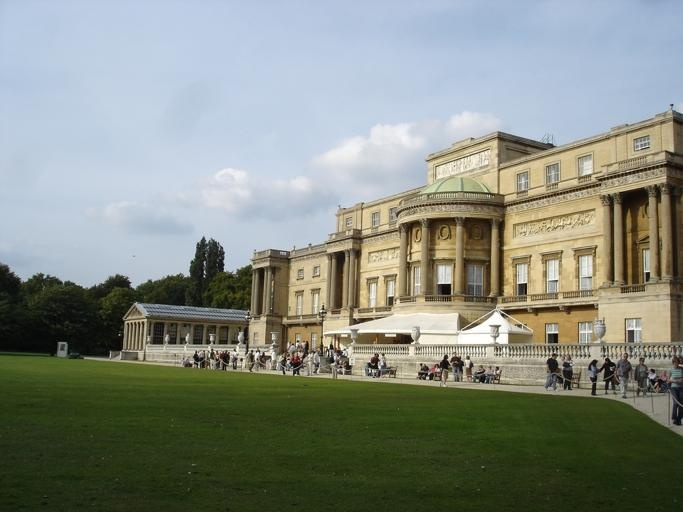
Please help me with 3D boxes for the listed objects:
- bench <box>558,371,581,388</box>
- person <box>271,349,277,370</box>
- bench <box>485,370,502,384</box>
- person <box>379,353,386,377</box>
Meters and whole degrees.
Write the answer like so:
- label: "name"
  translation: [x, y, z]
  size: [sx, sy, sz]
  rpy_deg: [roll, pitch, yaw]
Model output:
- label: "bench"
  translation: [10.576, 5.820, 33.675]
  size: [0.867, 0.652, 0.324]
  rpy_deg: [5, -14, -27]
- label: "person"
  translation: [-5.082, 7.828, 54.314]
  size: [0.407, 1.644, 1.470]
  rpy_deg: [3, -12, -7]
- label: "bench"
  translation: [7.905, 6.313, 37.697]
  size: [0.752, 1.004, 0.733]
  rpy_deg: [9, -17, -29]
- label: "person"
  translation: [2.432, 6.754, 43.851]
  size: [0.368, 1.245, 0.634]
  rpy_deg: [-1, -12, 8]
